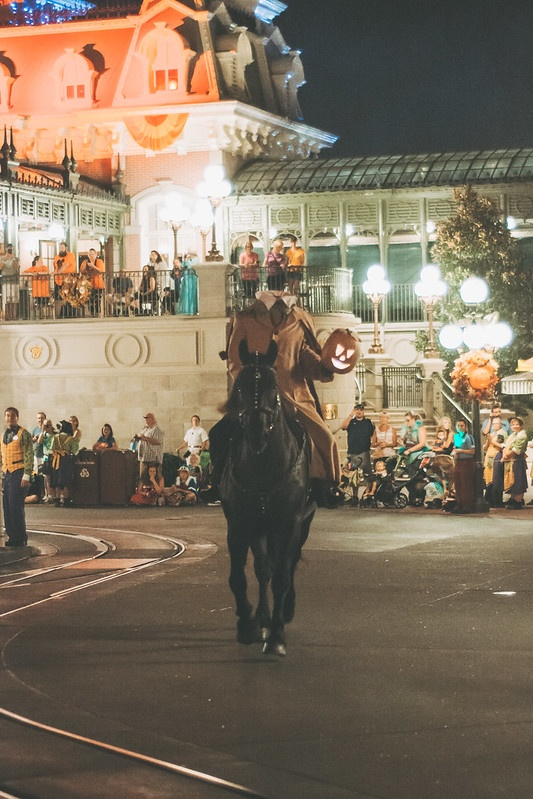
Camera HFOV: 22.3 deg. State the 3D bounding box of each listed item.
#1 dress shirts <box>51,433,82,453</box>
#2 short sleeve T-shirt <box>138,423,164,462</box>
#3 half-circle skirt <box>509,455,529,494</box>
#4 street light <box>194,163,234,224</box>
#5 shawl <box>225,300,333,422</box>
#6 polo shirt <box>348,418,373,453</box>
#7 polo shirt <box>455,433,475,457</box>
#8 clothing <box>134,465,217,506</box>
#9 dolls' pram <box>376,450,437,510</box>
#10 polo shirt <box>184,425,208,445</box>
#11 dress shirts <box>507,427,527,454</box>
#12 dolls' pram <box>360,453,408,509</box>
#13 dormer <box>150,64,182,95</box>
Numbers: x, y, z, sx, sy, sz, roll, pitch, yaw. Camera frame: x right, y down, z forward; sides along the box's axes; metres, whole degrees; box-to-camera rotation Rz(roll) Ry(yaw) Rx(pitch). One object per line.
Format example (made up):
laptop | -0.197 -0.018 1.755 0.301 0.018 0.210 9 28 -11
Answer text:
dress shirts | -3.619 0.822 24.220 0.475 0.377 0.517 0 1 -9
short sleeve T-shirt | -2.114 0.830 24.471 0.634 0.657 0.460 -7 -22 25
half-circle skirt | 3.856 1.196 20.819 0.262 0.635 0.324 1 2 6
street light | -0.962 -3.780 25.965 0.448 0.918 0.452 -19 7 -1
shawl | 0.114 -0.220 10.398 0.773 1.178 0.802 1 2 1
polo shirt | 1.572 0.631 22.818 0.541 0.606 0.357 2 -13 -2
polo shirt | 3.030 0.716 20.652 0.167 0.256 0.339 -12 13 -36
clothing | -1.626 1.664 24.108 1.206 0.686 1.539 2 -1 15
dolls' pram | 2.254 1.328 22.096 0.634 0.711 1.127 -6 3 15
polo shirt | -1.305 0.684 24.920 0.369 0.301 0.184 -1 -15 20
dress shirts | 3.849 0.689 20.866 0.302 0.378 0.401 1 1 9
dolls' pram | 1.895 1.406 21.817 0.589 0.859 0.892 -2 -12 15
dormer | -2.770 -8.644 37.094 1.156 0.805 0.625 -1 -4 14
